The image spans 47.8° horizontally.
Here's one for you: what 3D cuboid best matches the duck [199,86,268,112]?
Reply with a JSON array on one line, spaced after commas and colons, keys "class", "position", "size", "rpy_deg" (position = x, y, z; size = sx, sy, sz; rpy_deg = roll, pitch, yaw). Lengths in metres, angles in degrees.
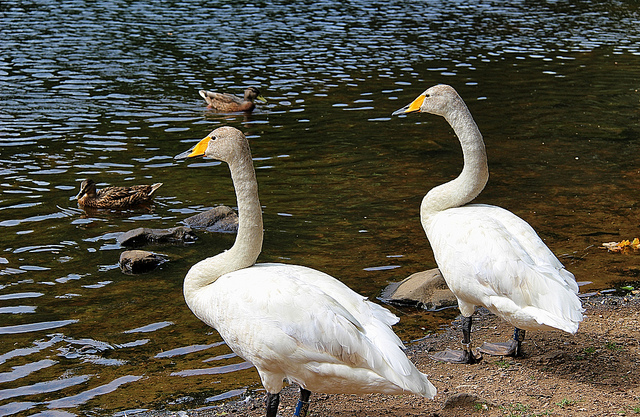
[{"class": "duck", "position": [-2.810, -3.466, 23.194], "size": [1.933, 0.781, 0.662], "rpy_deg": [-5, 28, -3]}]
